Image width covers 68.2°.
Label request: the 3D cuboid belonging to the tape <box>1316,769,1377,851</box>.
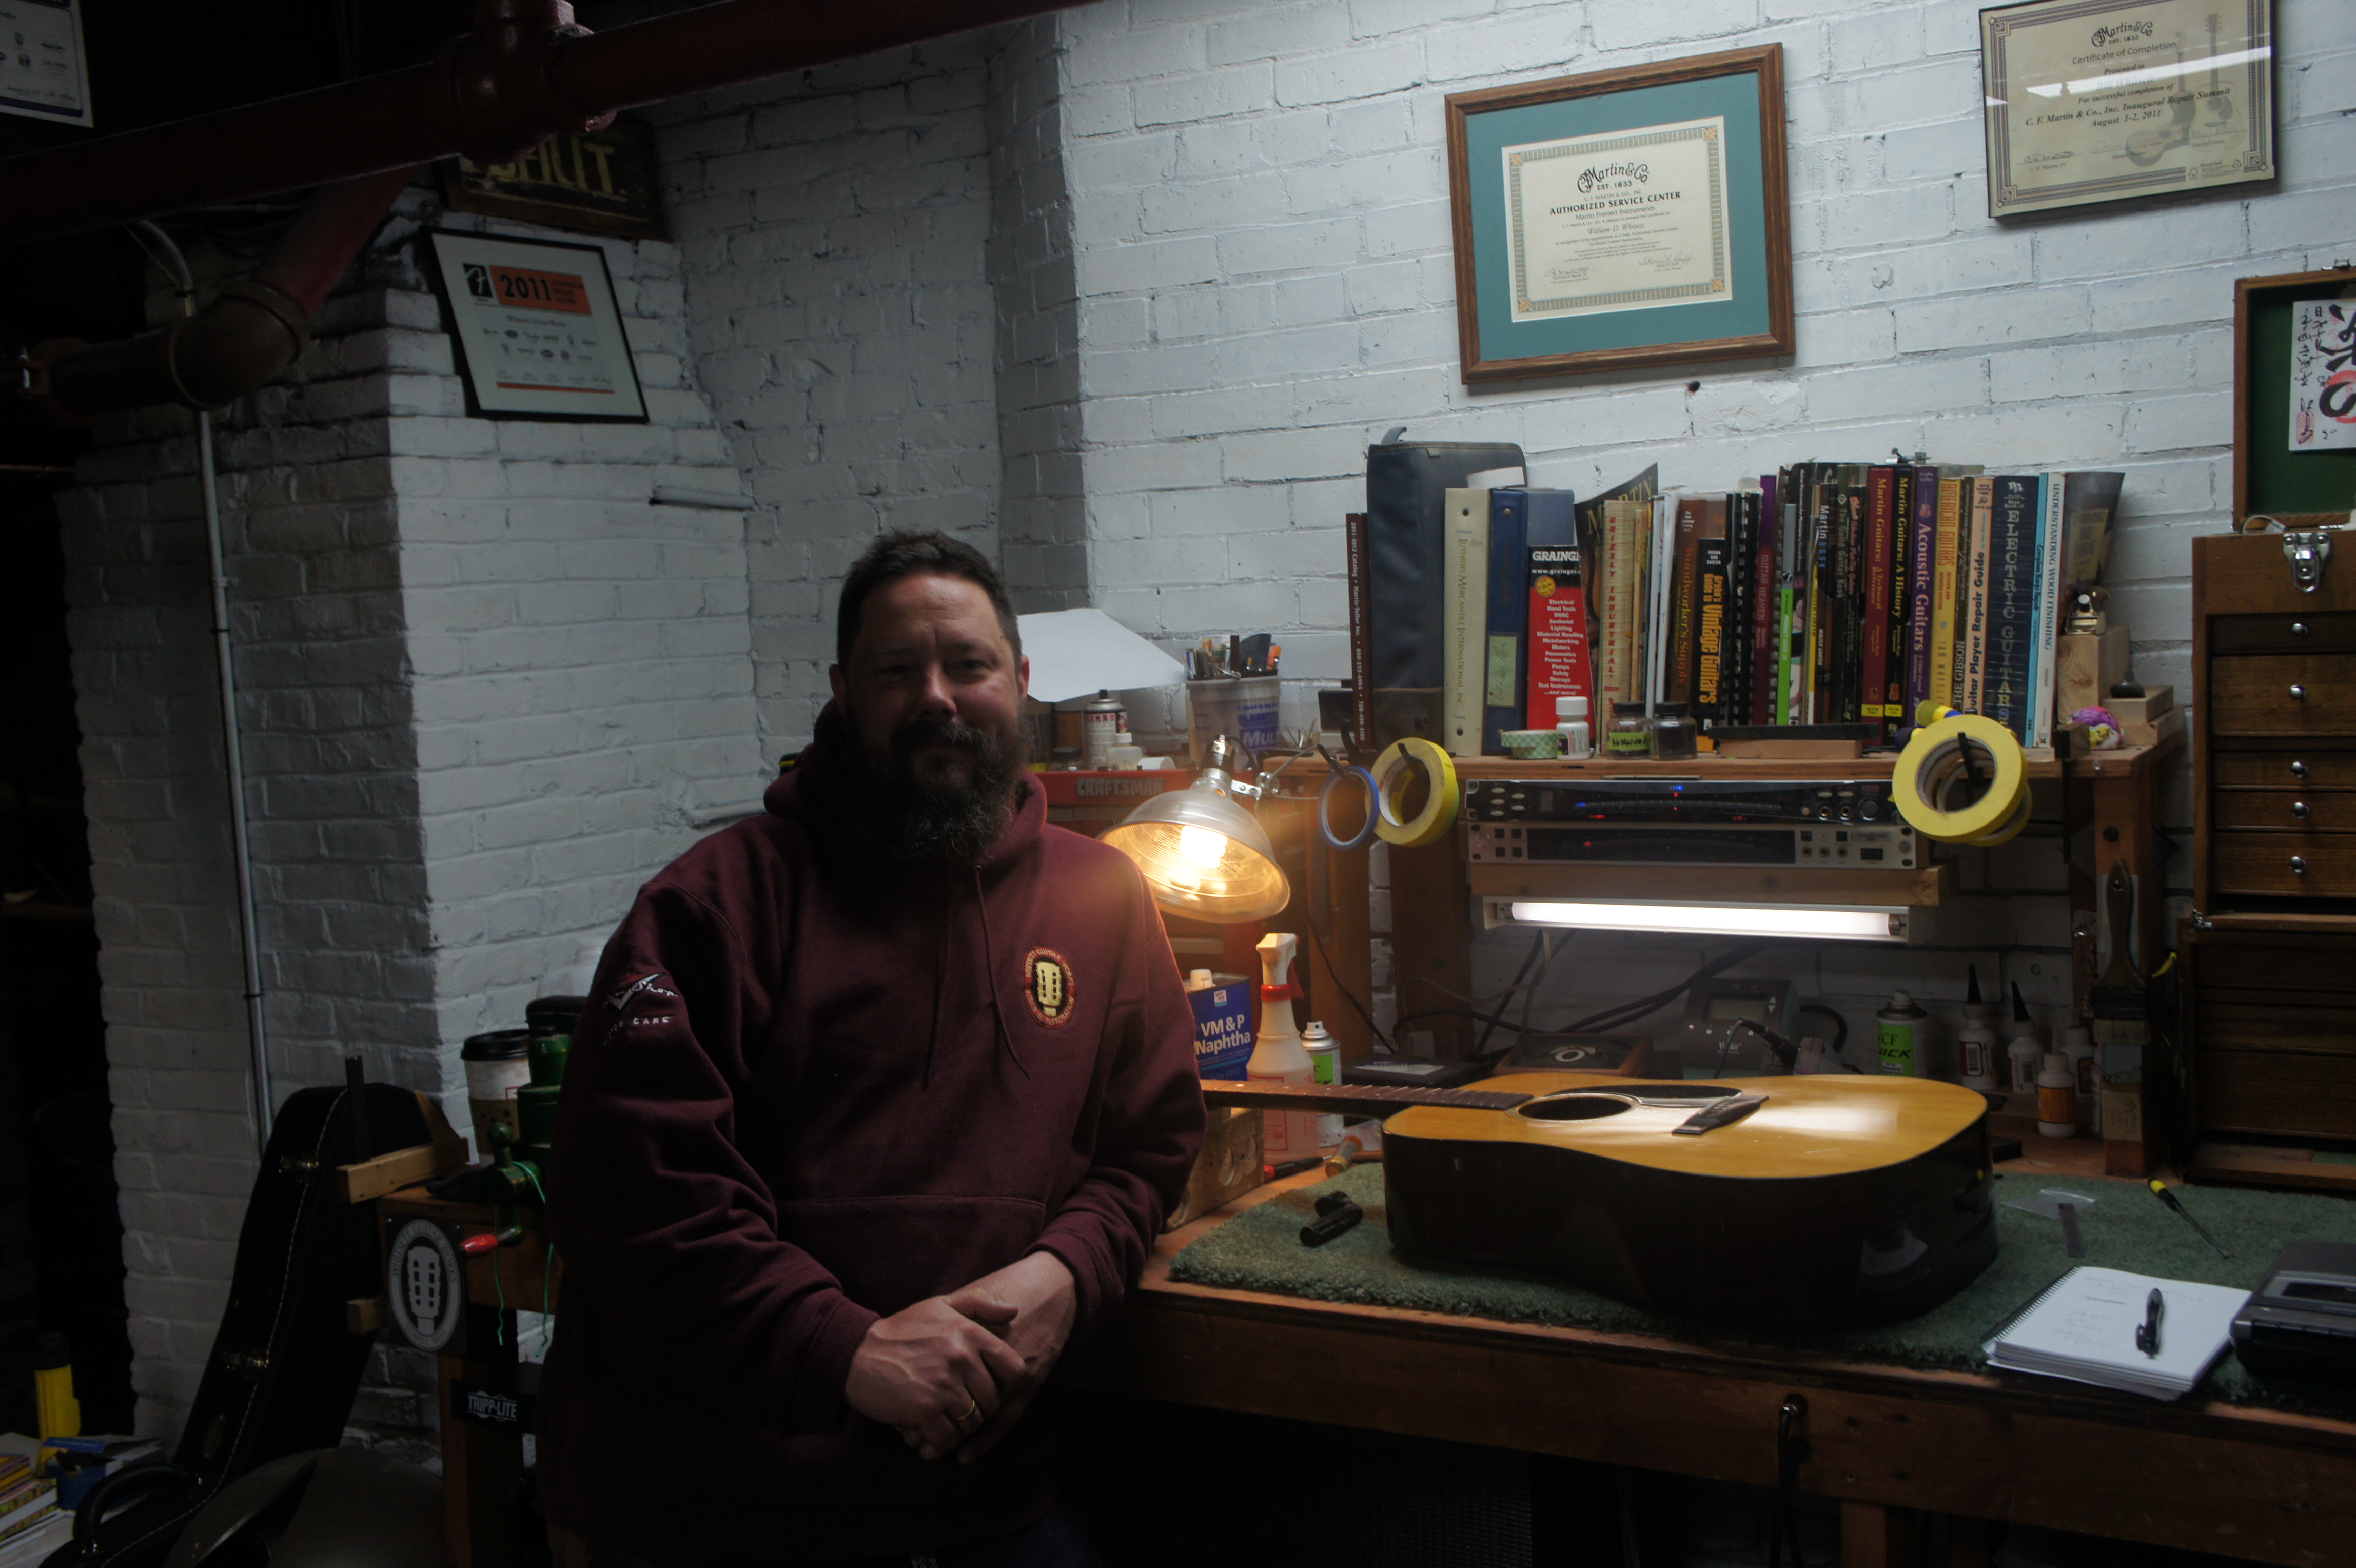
[{"bbox_3d":[0.303,0.046,3.178,0.133,0.119,0.032,2,-2,33],"label":"tape"}]

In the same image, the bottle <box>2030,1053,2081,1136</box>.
[{"bbox_3d":[1.508,0.537,2.995,0.060,0.136,0.066,-3,6,2],"label":"bottle"}]

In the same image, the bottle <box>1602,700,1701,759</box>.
[{"bbox_3d":[0.830,-0.086,3.085,0.150,0.085,0.105,-1,-2,24],"label":"bottle"}]

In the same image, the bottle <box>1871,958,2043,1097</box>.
[{"bbox_3d":[1.432,0.457,3.164,0.343,0.289,0.181,0,-2,25],"label":"bottle"}]

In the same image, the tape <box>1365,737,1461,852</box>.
[{"bbox_3d":[0.420,0.011,3.169,0.105,0.208,0.214,14,-11,-43],"label":"tape"}]

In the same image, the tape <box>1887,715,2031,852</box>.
[{"bbox_3d":[1.241,-0.006,2.783,0.207,0.209,0.174,7,9,37],"label":"tape"}]

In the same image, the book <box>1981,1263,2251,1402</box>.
[{"bbox_3d":[1.243,0.706,2.293,0.270,0.091,0.346,1,6,35],"label":"book"}]

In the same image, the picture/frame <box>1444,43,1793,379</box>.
[{"bbox_3d":[0.858,-1.100,3.422,0.641,0.588,0.025,-1,7,19],"label":"picture/frame"}]

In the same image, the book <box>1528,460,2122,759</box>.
[{"bbox_3d":[1.138,-0.318,3.050,0.969,0.510,0.345,7,8,35],"label":"book"}]

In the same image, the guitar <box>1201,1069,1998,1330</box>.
[{"bbox_3d":[0.439,0.616,2.838,1.628,0.201,0.681,-5,5,30],"label":"guitar"}]

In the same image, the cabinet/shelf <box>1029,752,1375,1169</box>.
[{"bbox_3d":[0.063,0.306,3.483,0.513,0.752,0.573,-5,9,-42],"label":"cabinet/shelf"}]

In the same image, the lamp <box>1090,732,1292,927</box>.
[{"bbox_3d":[0.011,0.094,2.953,0.256,0.259,0.245,1,7,-29],"label":"lamp"}]
